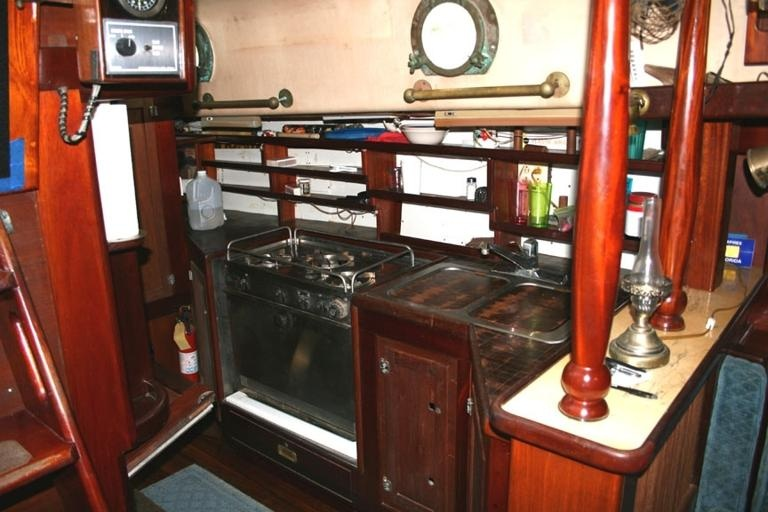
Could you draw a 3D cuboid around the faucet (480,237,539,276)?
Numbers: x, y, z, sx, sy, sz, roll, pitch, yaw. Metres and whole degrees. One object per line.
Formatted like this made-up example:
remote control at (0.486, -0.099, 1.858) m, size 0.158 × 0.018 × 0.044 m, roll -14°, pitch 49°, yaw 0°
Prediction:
faucet at (0.581, 0.007, 2.462) m, size 0.119 × 0.144 × 0.375 m, roll -14°, pitch 14°, yaw -38°
